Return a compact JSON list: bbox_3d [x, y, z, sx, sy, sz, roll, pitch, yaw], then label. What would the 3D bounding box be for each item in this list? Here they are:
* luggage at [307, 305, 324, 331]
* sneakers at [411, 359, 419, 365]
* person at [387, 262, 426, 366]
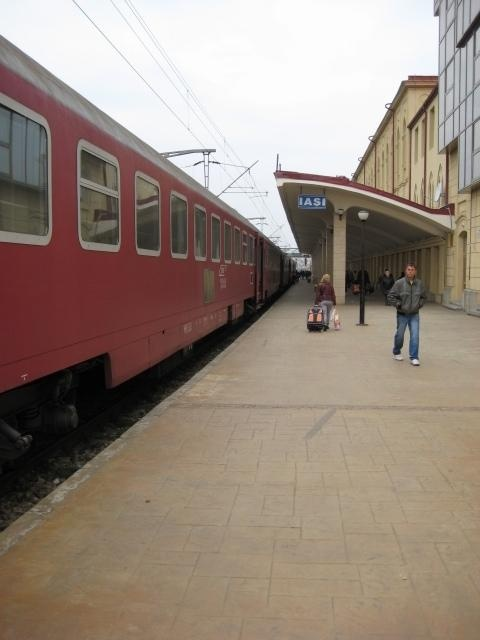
[{"bbox_3d":[2.266,-0.076,14.282,0.505,1.101,0.558,1,13,9],"label":"luggage"},{"bbox_3d":[3.234,0.767,8.814,0.066,0.111,0.216,-3,-7,13],"label":"sneakers"},{"bbox_3d":[3.189,-0.107,9.115,0.620,1.573,0.965,0,0,22],"label":"person"}]
